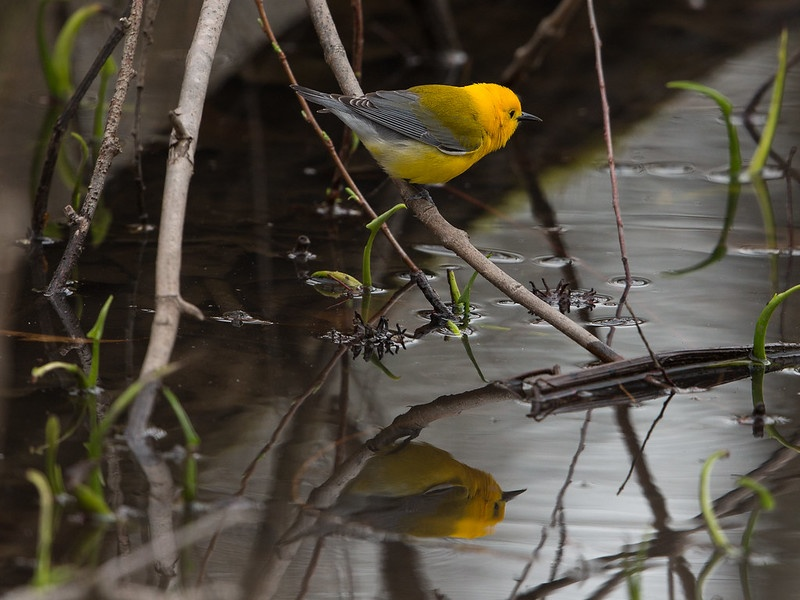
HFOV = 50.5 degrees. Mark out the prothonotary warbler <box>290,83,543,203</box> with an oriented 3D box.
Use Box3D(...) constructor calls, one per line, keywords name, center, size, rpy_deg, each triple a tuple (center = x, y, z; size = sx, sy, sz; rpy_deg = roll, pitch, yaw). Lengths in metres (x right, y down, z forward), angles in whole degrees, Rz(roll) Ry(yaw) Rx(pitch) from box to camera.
Box3D(name="prothonotary warbler", center=(0.119, -0.850, 4.217), size=(1.168, 0.590, 0.270), rpy_deg=(2, -13, -29))
